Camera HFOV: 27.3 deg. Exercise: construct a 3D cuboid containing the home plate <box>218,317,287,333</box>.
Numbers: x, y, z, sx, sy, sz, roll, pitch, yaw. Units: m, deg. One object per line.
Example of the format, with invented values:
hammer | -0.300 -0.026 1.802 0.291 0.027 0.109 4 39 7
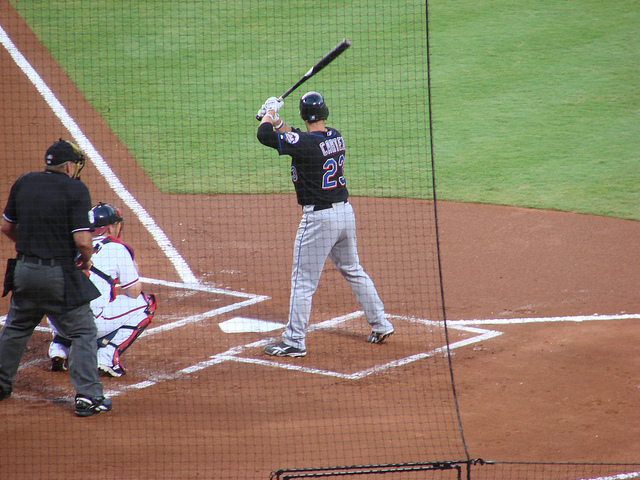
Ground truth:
home plate | -0.934 1.125 17.651 0.874 0.060 0.378 -3 23 -1
